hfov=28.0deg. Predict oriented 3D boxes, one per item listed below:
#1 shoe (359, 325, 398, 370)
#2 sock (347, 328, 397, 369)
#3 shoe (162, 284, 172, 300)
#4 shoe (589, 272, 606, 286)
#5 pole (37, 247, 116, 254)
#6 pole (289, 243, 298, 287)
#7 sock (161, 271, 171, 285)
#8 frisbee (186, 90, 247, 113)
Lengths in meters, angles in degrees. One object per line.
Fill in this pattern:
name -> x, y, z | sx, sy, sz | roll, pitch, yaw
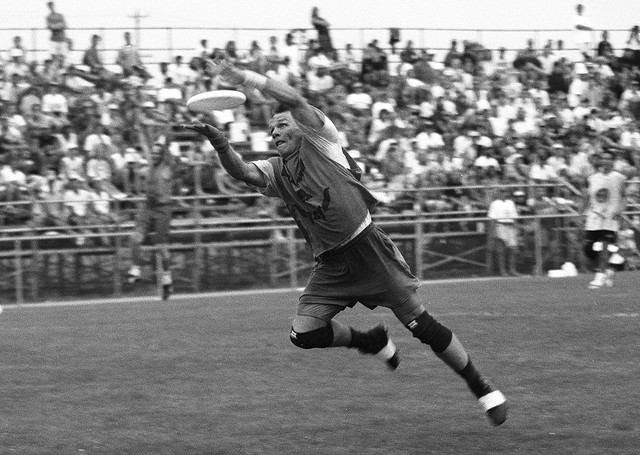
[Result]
shoe -> 0.662, 1.228, 13.221 | 0.341, 0.468, 0.206 | -23, 32, 35
sock -> 0.529, 1.222, 12.982 | 0.546, 0.254, 0.288 | -1, 6, -19
shoe -> -2.178, 0.913, 18.238 | 0.076, 0.193, 0.153 | 7, 15, 31
shoe -> 4.031, 0.750, 18.622 | 0.213, 0.148, 0.203 | -2, 13, -41
pole -> -3.411, 0.330, 18.079 | 1.077, 0.082, 0.056 | -3, 13, -16
pole -> -0.391, 0.558, 18.762 | 0.106, 0.639, 0.152 | -2, 13, -3
sock -> -2.179, 0.722, 18.215 | 0.128, 0.178, 0.085 | -3, 13, -8
frisbee -> -1.106, -1.386, 13.690 | 0.399, 0.060, 0.371 | 1, -6, -36
